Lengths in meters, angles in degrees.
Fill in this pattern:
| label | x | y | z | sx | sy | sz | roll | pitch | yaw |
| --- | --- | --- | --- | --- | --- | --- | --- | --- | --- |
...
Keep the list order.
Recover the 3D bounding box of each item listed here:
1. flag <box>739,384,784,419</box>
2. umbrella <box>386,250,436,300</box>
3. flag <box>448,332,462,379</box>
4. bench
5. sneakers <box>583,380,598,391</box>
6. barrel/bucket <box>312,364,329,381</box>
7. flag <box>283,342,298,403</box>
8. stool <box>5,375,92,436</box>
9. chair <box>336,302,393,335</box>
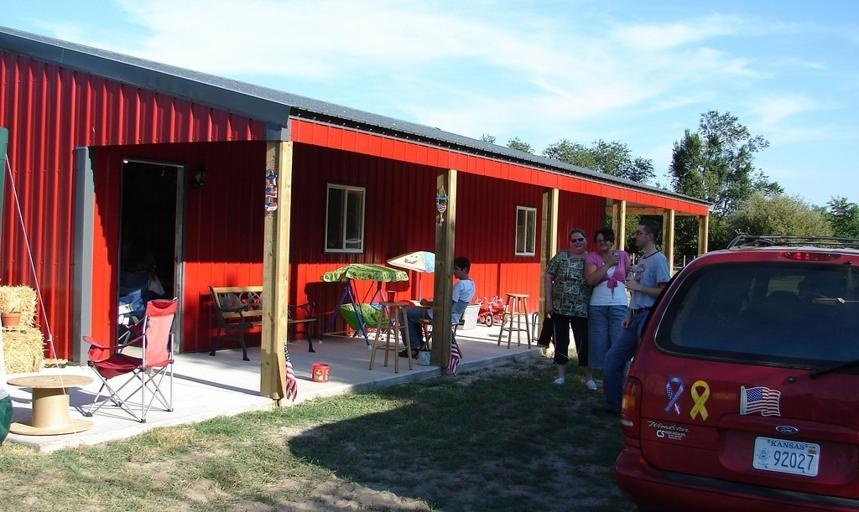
| label | x | y | z | sx | sy | sz | roll | pitch | yaw |
| --- | --- | --- | --- | --- | --- | --- | --- | --- | --- |
| flag | 2.630 | 1.165 | 5.237 | 0.271 | 0.196 | 0.030 | 3 | -8 | 16 |
| umbrella | -0.300 | 0.349 | 12.846 | 1.141 | 1.120 | 1.005 | 1 | -1 | -12 |
| flag | 0.412 | 1.580 | 10.754 | 0.152 | 0.620 | 0.509 | 4 | 7 | 11 |
| bench | -2.901 | 1.080 | 11.590 | 1.155 | 1.167 | 1.984 | 8 | 9 | 38 |
| sneakers | 2.357 | 1.902 | 9.709 | 0.084 | 0.071 | 0.221 | -4 | 2 | -13 |
| barrel/bucket | -1.577 | 1.673 | 9.521 | 0.234 | 0.229 | 0.236 | 1 | -1 | 0 |
| flag | -1.828 | 1.560 | 8.774 | 0.189 | 0.685 | 0.307 | 1 | 7 | -13 |
| stool | -4.292 | 1.718 | 7.479 | 0.623 | 0.364 | 0.611 | 2 | 0 | -24 |
| chair | -1.281 | 1.127 | 12.213 | 0.788 | 0.379 | 0.641 | -1 | -1 | 39 |
